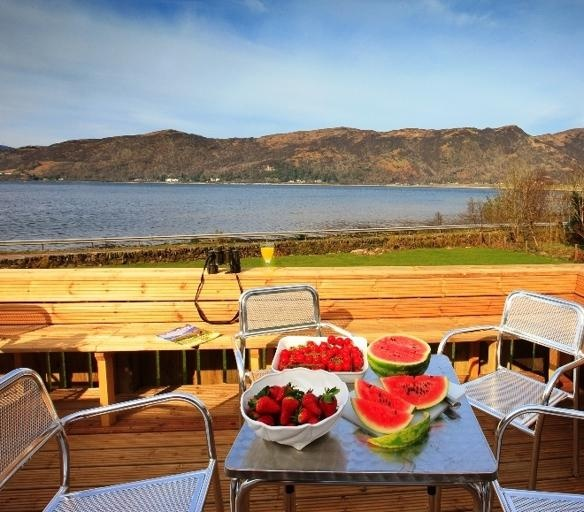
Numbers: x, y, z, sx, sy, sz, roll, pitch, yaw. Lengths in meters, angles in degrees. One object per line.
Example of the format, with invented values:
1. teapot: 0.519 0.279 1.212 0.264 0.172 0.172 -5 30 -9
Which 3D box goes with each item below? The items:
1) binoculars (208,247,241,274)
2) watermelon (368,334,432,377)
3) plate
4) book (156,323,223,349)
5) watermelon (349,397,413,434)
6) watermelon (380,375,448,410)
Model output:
1. binoculars: -0.597 0.037 4.044 0.271 0.160 0.231 -1 0 -17
2. watermelon: 0.480 0.440 2.223 0.287 0.142 0.221 2 8 -22
3. plate: 0.143 0.425 2.259 0.422 0.182 0.377 8 5 1
4. book: -0.784 0.590 3.562 0.475 0.034 0.420 7 12 43
5. watermelon: 0.335 0.582 1.812 0.278 0.074 0.185 3 5 9
6. watermelon: 0.549 0.542 2.064 0.350 0.088 0.260 4 4 17
